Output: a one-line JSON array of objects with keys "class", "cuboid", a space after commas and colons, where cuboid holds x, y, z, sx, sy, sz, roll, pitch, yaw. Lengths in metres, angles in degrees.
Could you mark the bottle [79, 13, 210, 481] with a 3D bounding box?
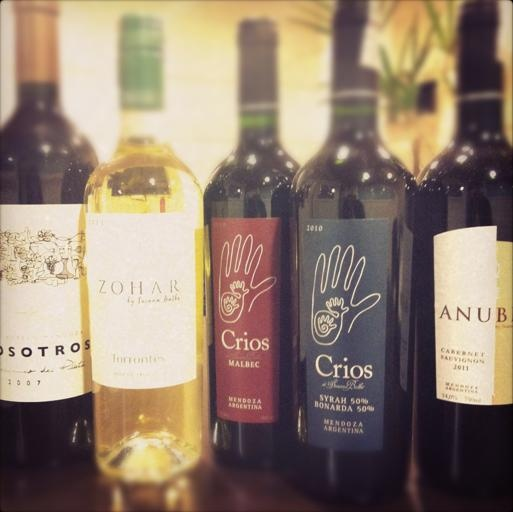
[{"class": "bottle", "cuboid": [-0.127, -0.009, 0.750, 0.139, 0.521, 0.096, -2, 4, -17]}]
